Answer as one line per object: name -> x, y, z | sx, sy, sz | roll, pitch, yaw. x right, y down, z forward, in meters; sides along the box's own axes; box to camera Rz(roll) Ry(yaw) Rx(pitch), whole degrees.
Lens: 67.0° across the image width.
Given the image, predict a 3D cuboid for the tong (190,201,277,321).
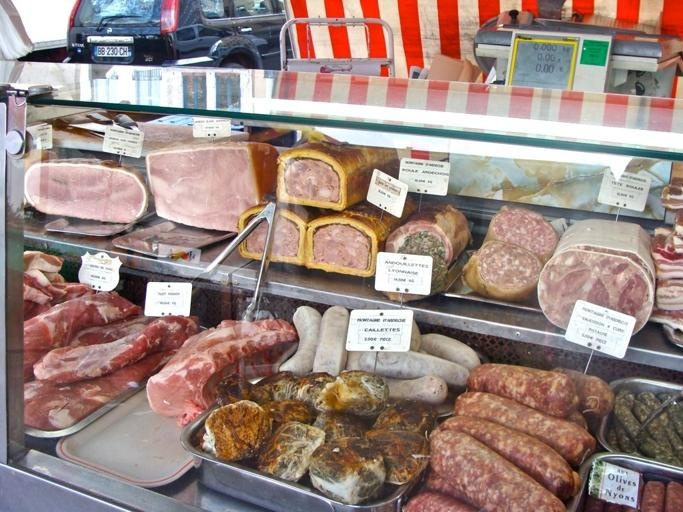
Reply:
tong -> -0.439, 0.043, 2.148 | 0.275, 0.527, 0.075 | 33, 3, 20
